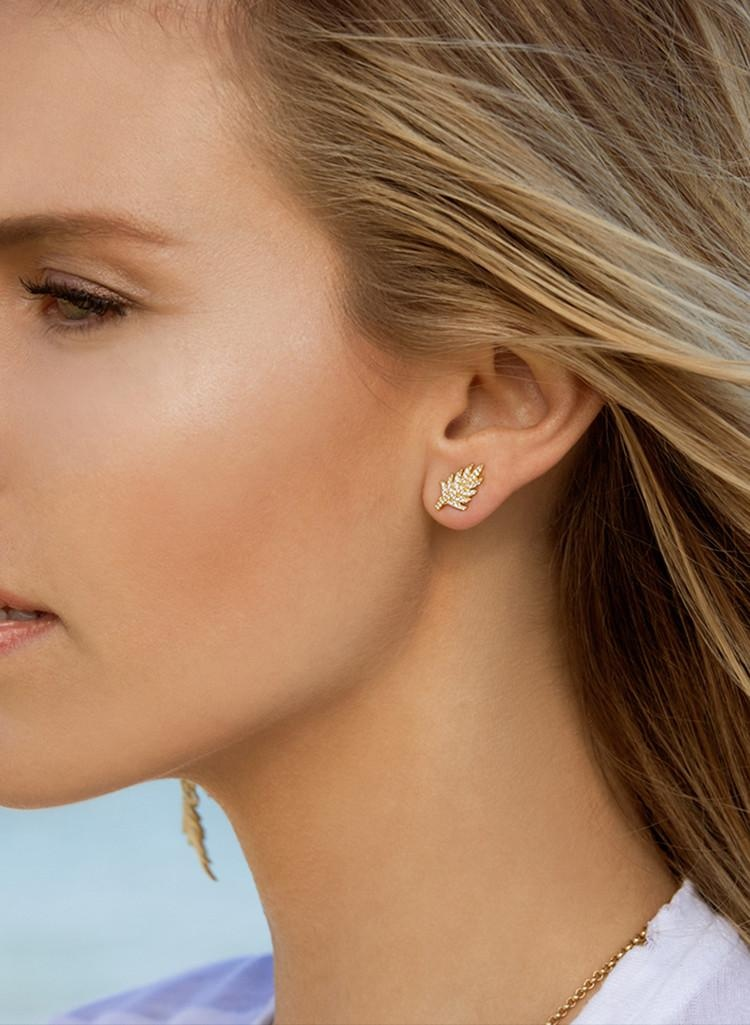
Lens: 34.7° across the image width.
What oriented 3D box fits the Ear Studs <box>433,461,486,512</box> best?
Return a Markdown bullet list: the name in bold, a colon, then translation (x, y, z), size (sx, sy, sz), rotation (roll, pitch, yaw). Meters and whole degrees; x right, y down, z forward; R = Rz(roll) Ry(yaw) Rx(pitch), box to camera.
- **Ear Studs**: translation (0.097, -0.027, 1.363), size (0.066, 0.036, 0.012), rotation (-36, -4, 10)
